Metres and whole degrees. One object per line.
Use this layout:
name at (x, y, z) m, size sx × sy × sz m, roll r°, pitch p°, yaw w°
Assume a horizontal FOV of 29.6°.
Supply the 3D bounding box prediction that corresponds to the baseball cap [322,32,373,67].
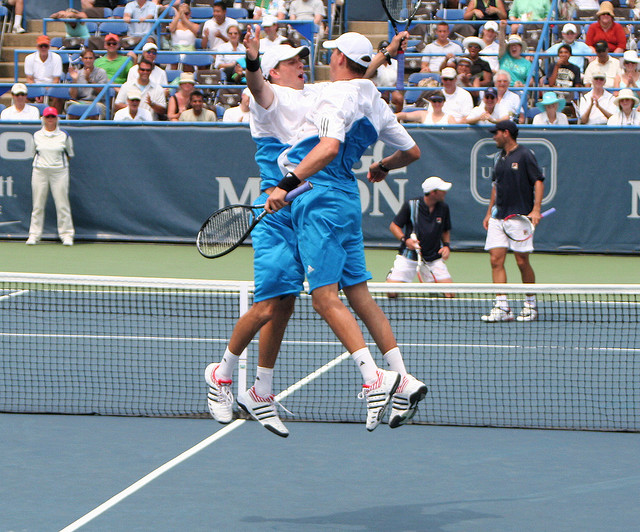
baseball cap at (0.169, -1.560, 8.558) m, size 0.376 × 0.196 × 0.250 m, roll 0°, pitch 5°, yaw -5°

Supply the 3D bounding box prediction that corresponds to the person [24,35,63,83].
person at (-4.454, -3.216, 19.365) m, size 0.596 × 0.892 × 0.609 m, roll 2°, pitch 6°, yaw -3°

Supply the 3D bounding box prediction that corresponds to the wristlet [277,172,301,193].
wristlet at (-0.216, -0.566, 8.309) m, size 0.119 × 0.109 × 0.142 m, roll 37°, pitch 3°, yaw 0°

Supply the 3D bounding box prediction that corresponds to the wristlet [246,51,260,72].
wristlet at (-0.466, -1.402, 8.392) m, size 0.086 × 0.103 × 0.104 m, roll 0°, pitch -4°, yaw -1°

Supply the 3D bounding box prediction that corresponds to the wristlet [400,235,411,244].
wristlet at (1.014, -0.309, 14.468) m, size 0.093 × 0.069 × 0.039 m, roll 5°, pitch -27°, yaw 37°

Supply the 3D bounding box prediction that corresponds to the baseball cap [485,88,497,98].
baseball cap at (2.317, -2.360, 16.452) m, size 0.140 × 0.118 × 0.227 m, roll 3°, pitch -31°, yaw 14°

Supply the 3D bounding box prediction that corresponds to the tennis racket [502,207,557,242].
tennis racket at (2.464, -0.542, 14.038) m, size 0.750 × 0.153 × 0.434 m, roll -22°, pitch 23°, yaw -36°

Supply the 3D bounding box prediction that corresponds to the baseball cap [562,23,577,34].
baseball cap at (3.646, -3.459, 17.694) m, size 0.187 × 0.154 × 0.272 m, roll 2°, pitch 12°, yaw 10°

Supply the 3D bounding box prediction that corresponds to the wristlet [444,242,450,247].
wristlet at (1.523, -0.251, 14.571) m, size 0.049 × 0.050 × 0.054 m, roll 4°, pitch 27°, yaw -25°

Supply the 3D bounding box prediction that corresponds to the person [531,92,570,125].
person at (3.147, -2.124, 16.424) m, size 0.674 × 0.416 × 0.970 m, roll -8°, pitch 6°, yaw 13°

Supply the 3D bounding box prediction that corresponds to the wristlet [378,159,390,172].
wristlet at (0.471, -0.762, 9.151) m, size 0.081 × 0.042 × 0.067 m, roll 36°, pitch -17°, yaw -16°

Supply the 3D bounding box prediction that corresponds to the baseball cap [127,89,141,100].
baseball cap at (-2.654, -2.432, 17.244) m, size 0.181 × 0.132 × 0.275 m, roll -2°, pitch 12°, yaw -10°

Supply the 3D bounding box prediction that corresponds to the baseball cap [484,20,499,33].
baseball cap at (2.534, -3.555, 17.941) m, size 0.138 × 0.212 × 0.212 m, roll 5°, pitch 27°, yaw 5°

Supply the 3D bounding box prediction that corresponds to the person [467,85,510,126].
person at (2.257, -2.104, 16.392) m, size 0.594 × 0.502 × 0.782 m, roll 0°, pitch 0°, yaw 10°

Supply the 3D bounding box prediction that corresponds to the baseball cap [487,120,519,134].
baseball cap at (2.077, -1.570, 13.753) m, size 0.244 × 0.129 × 0.159 m, roll 1°, pitch 0°, yaw 11°

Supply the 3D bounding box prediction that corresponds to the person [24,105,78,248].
person at (-3.756, -1.222, 16.791) m, size 0.692 × 1.925 × 0.408 m, roll 1°, pitch 12°, yaw 5°

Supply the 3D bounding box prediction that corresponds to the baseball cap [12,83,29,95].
baseball cap at (-4.459, -2.600, 17.905) m, size 0.196 × 0.148 × 0.277 m, roll -1°, pitch 5°, yaw -21°

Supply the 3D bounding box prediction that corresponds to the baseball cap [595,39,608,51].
baseball cap at (3.991, -3.078, 17.176) m, size 0.147 × 0.239 × 0.124 m, roll 8°, pitch 49°, yaw 28°

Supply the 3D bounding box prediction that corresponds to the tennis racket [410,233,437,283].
tennis racket at (1.203, -0.101, 14.480) m, size 0.133 × 0.301 × 0.978 m, roll -31°, pitch -19°, yaw 1°

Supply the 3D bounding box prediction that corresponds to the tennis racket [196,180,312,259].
tennis racket at (-0.531, -0.294, 8.665) m, size 0.822 × 0.509 × 0.406 m, roll 11°, pitch 17°, yaw 42°

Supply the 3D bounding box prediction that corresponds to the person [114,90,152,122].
person at (-2.689, -2.285, 17.327) m, size 0.539 × 0.448 × 1.069 m, roll -2°, pitch 12°, yaw -9°

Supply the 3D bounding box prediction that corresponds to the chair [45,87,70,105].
chair at (-4.056, -2.602, 18.755) m, size 0.279 × 0.386 × 0.276 m, roll 1°, pitch 4°, yaw 19°

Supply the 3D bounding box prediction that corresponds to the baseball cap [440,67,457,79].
baseball cap at (1.765, -2.647, 16.683) m, size 0.196 × 0.142 × 0.259 m, roll 2°, pitch 12°, yaw 9°

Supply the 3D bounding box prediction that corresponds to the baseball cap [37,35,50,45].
baseball cap at (-4.435, -3.619, 19.342) m, size 0.176 × 0.151 × 0.286 m, roll 0°, pitch -3°, yaw -5°

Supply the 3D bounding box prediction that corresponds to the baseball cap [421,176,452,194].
baseball cap at (1.365, -0.961, 14.377) m, size 0.285 × 0.149 × 0.185 m, roll -4°, pitch 8°, yaw 10°

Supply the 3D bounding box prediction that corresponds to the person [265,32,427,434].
person at (0.152, -0.276, 8.628) m, size 1.012 × 2.680 × 1.017 m, roll 1°, pitch 12°, yaw 4°

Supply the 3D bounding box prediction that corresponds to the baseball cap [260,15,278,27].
baseball cap at (-0.764, -3.655, 18.155) m, size 0.219 × 0.161 × 0.498 m, roll 0°, pitch 12°, yaw -2°

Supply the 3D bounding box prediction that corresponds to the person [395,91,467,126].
person at (1.561, -2.125, 16.575) m, size 1.249 × 0.511 × 0.375 m, roll 2°, pitch -1°, yaw 3°
